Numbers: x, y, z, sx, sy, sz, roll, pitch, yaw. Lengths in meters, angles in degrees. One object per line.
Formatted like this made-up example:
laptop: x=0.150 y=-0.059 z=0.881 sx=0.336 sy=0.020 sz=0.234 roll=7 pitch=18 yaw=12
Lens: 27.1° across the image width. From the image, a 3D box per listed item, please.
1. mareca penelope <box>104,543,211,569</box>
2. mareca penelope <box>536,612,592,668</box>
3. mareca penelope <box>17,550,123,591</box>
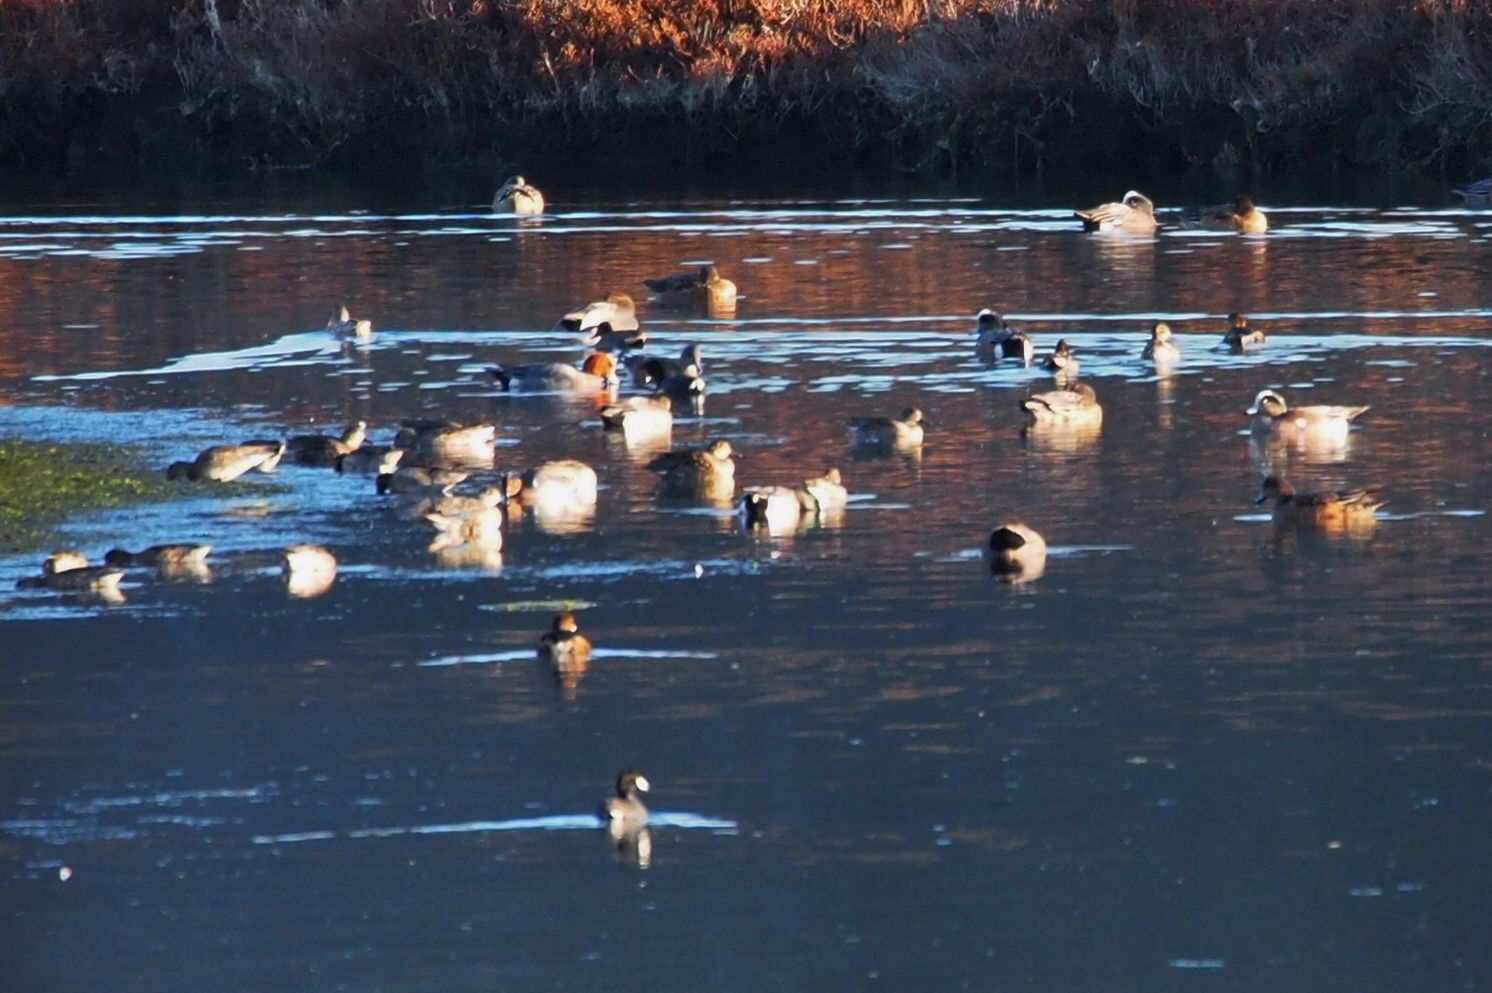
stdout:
mareca penelope: x=-5.913 y=0.614 z=31.696 sx=1.123 sy=0.422 sz=0.359 roll=-1 pitch=0 yaw=16
mareca penelope: x=-1.687 y=1.384 z=29.416 sx=0.341 sy=0.601 sz=0.251 roll=0 pitch=3 yaw=-8
mareca penelope: x=-6.660 y=0.719 z=31.054 sx=0.981 sy=0.390 sz=0.427 roll=-1 pitch=2 yaw=7
